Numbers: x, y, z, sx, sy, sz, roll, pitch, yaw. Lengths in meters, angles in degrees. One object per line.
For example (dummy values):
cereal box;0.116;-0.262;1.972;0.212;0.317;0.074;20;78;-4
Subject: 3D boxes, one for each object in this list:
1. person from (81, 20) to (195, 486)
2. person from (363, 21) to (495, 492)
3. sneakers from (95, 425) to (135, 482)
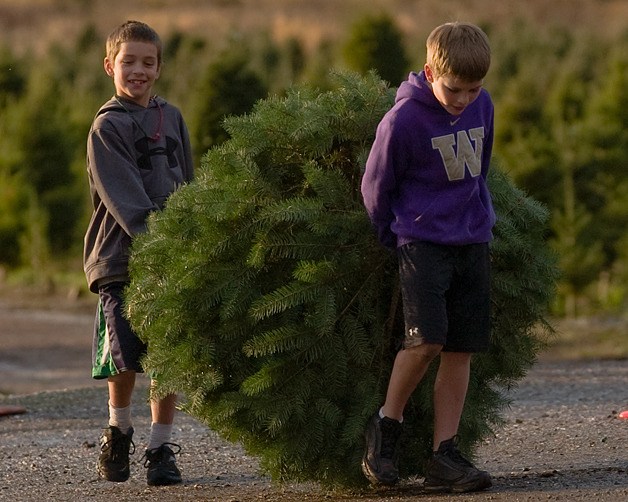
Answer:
person;-1.681;0.013;15.317;0.989;4.244;1.311;0;12;11
person;1.060;0.075;14.665;1.194;4.156;1.023;-1;12;6
sneakers;-1.879;1.939;15.248;0.267;0.582;0.264;6;-33;-24
